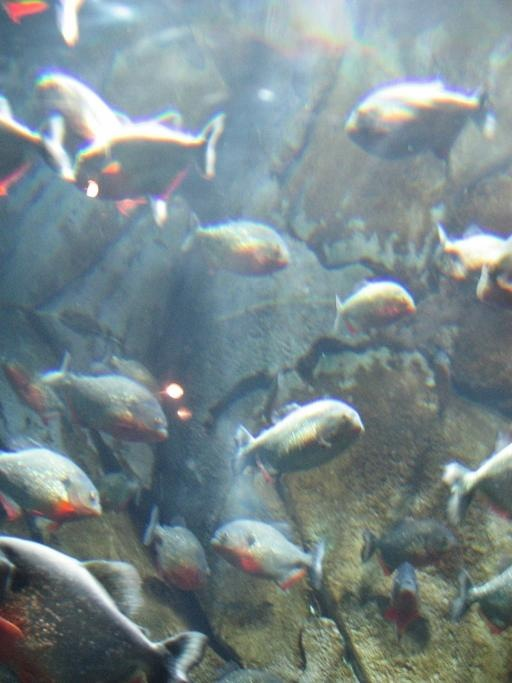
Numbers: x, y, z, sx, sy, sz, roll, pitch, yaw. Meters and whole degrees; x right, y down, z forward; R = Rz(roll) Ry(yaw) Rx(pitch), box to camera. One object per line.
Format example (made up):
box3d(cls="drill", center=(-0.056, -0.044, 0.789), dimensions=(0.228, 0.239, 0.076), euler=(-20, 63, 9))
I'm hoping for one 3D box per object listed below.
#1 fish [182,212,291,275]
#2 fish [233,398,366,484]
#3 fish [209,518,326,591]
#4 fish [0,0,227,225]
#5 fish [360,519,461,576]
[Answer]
box3d(cls="fish", center=(-0.047, -0.272, 2.491), dimensions=(0.248, 0.143, 0.161), euler=(8, 22, -26))
box3d(cls="fish", center=(0.113, 0.264, 2.355), dimensions=(0.367, 0.170, 0.201), euler=(-16, 63, 3))
box3d(cls="fish", center=(0.046, 0.553, 2.274), dimensions=(0.297, 0.198, 0.096), euler=(18, 18, 7))
box3d(cls="fish", center=(-0.370, -0.535, 2.362), dimensions=(0.558, 0.453, 0.248), euler=(-12, 43, 12))
box3d(cls="fish", center=(0.397, 0.515, 2.176), dimensions=(0.155, 0.056, 0.159), euler=(-24, 49, -12))
